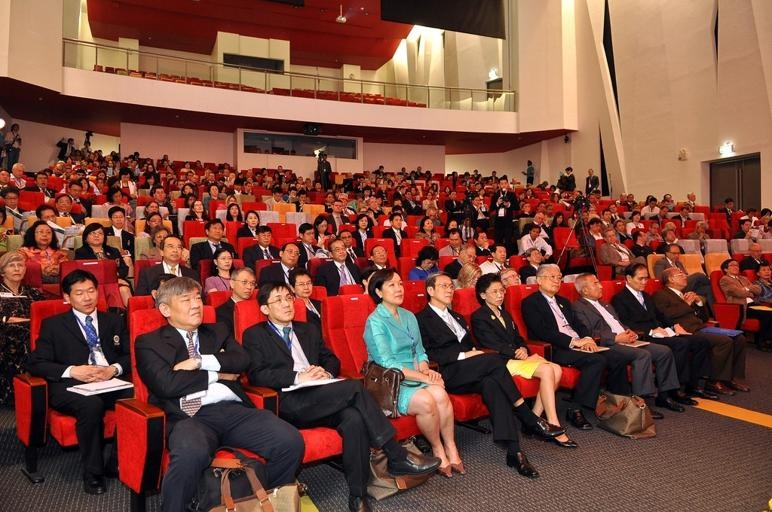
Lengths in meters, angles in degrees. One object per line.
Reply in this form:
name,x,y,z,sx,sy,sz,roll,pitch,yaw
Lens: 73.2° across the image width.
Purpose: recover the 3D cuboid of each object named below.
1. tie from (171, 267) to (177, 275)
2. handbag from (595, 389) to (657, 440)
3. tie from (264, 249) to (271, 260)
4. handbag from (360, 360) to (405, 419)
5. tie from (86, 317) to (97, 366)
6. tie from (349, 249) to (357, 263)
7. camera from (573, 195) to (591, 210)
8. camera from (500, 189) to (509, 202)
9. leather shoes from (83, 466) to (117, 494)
tie,-2.411,0.169,5.902,0.077,0.080,0.021,3,-25,-11
handbag,2.256,1.486,4.888,0.341,0.360,0.607,-3,2,-26
tie,-1.641,-0.014,7.217,0.091,0.169,0.048,4,-29,-22
handbag,-0.035,1.104,4.218,0.112,0.302,0.403,5,-6,-30
tie,-2.491,0.721,4.464,0.088,0.428,0.122,-3,-10,-18
tie,-0.507,-0.007,7.646,0.049,0.206,0.117,-24,-26,36
camera,3.914,-1.069,10.448,0.484,0.181,0.498,-3,4,16
camera,2.660,-1.399,11.732,0.222,0.128,0.455,-10,27,15
leather shoes,-2.244,1.765,4.117,0.195,0.161,0.238,3,5,32
